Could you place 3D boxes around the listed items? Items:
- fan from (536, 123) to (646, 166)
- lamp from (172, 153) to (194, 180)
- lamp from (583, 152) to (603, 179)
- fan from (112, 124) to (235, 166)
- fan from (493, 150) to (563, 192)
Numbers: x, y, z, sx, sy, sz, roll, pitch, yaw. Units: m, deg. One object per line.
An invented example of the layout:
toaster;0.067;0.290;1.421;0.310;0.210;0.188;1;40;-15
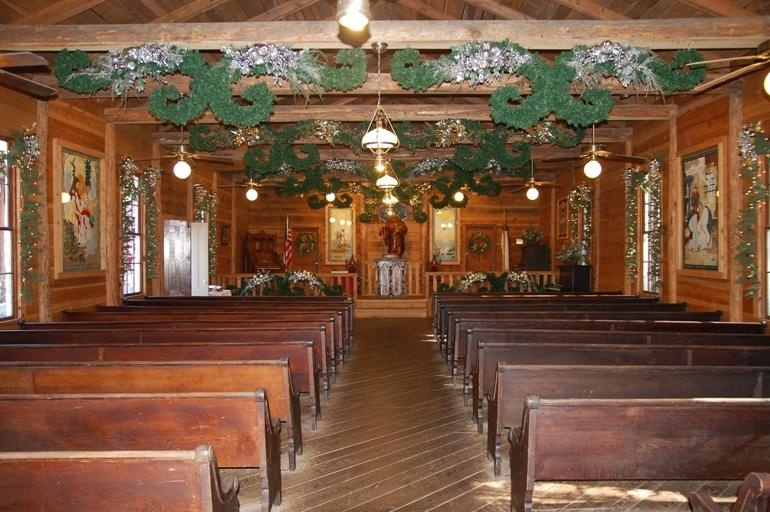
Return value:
fan;3.511;-1.742;10.490;1.562;0.424;1.367;-1;-3;0
lamp;-3.652;-1.625;11.010;0.290;0.557;1.621;-4;14;-17
lamp;3.657;-1.596;10.748;0.232;0.553;1.833;5;14;18
fan;-3.856;-1.999;11.739;1.912;0.660;2.024;7;11;43
fan;3.297;-1.987;13.907;1.110;1.014;1.015;1;-3;-3
